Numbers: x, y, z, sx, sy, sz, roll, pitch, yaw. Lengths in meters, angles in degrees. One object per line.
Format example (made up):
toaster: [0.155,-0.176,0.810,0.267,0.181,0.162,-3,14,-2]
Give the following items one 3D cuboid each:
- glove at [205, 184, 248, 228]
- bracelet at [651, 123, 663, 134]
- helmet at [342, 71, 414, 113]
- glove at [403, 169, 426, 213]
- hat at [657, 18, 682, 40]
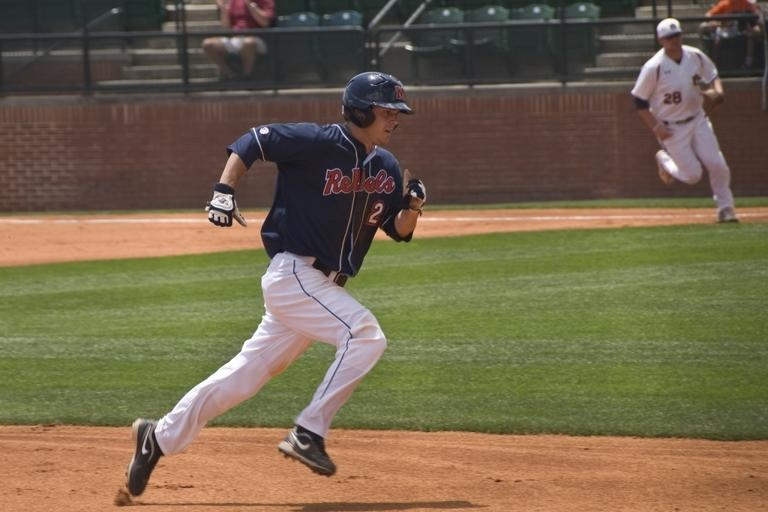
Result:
glove: [-1.648,-0.528,18.263,0.533,0.433,0.155,22,45,30]
bracelet: [3.876,-1.780,23.608,0.161,0.135,0.181,1,9,-23]
helmet: [-0.059,-1.814,18.406,0.756,0.268,0.457,2,4,10]
glove: [0.373,-0.718,18.707,0.342,0.482,0.222,6,-40,-19]
hat: [3.992,-3.208,23.593,0.425,0.215,0.488,-6,3,-5]
